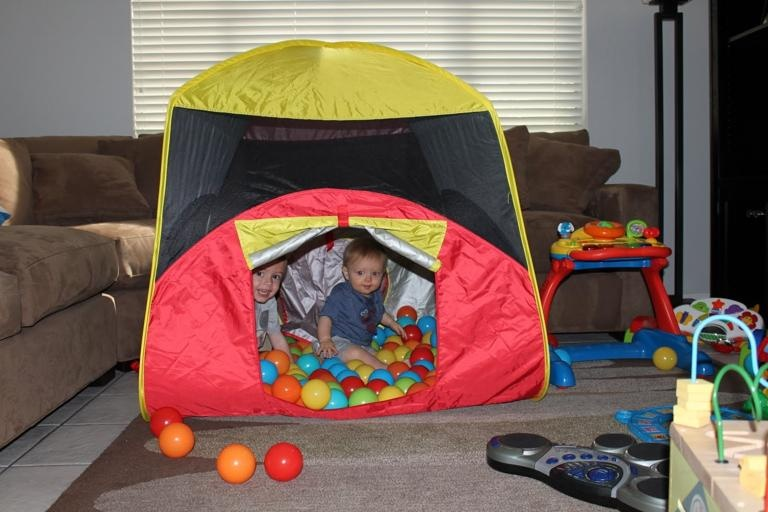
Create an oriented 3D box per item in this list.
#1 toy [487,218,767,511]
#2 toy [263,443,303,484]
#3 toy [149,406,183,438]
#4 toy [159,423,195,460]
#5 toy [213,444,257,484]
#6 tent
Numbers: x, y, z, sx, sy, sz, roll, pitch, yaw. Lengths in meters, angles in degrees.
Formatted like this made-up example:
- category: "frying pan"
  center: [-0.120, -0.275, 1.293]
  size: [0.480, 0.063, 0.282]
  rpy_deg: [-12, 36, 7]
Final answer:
- category: "toy"
  center: [0.888, 0.258, 2.817]
  size: [0.873, 0.465, 1.246]
  rpy_deg: [-3, 12, 4]
- category: "toy"
  center: [-0.352, 0.714, 2.457]
  size: [0.121, 0.124, 0.069]
  rpy_deg: [9, -25, 2]
- category: "toy"
  center: [-0.835, 0.618, 2.687]
  size: [0.110, 0.112, 0.128]
  rpy_deg: [-3, 9, 22]
- category: "toy"
  center: [-0.754, 0.670, 2.577]
  size: [0.118, 0.140, 0.120]
  rpy_deg: [4, 22, -1]
- category: "toy"
  center: [-0.512, 0.721, 2.454]
  size: [0.123, 0.126, 0.068]
  rpy_deg: [11, -22, 1]
- category: "tent"
  center: [-0.196, -0.169, 3.505]
  size: [1.789, 1.473, 1.562]
  rpy_deg: [-1, 4, -5]
